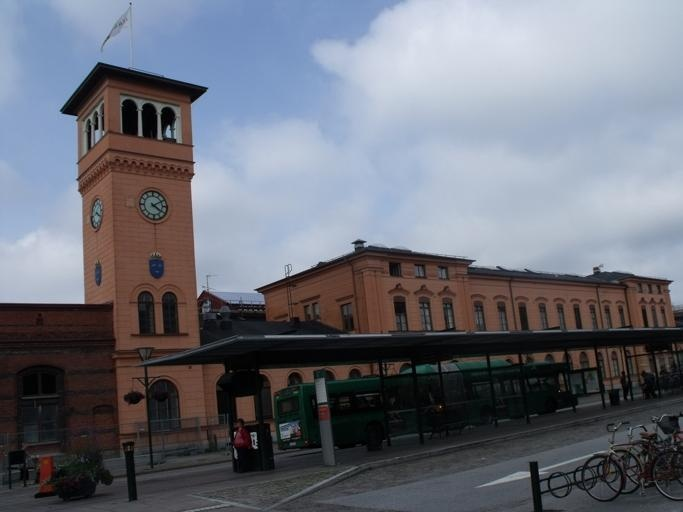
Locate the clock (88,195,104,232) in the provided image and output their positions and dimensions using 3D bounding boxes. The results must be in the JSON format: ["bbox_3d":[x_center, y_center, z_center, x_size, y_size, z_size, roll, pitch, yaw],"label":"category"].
[{"bbox_3d":[-16.600,-2.713,40.784,0.120,2.048,2.165,3,-22,-34],"label":"clock"}]

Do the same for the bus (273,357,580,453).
[{"bbox_3d":[6.564,7.792,34.473,21.420,3.797,3.681,0,-8,-26],"label":"bus"}]

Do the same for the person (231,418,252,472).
[{"bbox_3d":[-3.935,7.373,23.615,0.665,1.945,0.765,2,-17,-30],"label":"person"}]

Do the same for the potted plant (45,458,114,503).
[{"bbox_3d":[-9.118,7.624,20.600,1.579,1.146,1.252,-4,-18,-36],"label":"potted plant"}]
